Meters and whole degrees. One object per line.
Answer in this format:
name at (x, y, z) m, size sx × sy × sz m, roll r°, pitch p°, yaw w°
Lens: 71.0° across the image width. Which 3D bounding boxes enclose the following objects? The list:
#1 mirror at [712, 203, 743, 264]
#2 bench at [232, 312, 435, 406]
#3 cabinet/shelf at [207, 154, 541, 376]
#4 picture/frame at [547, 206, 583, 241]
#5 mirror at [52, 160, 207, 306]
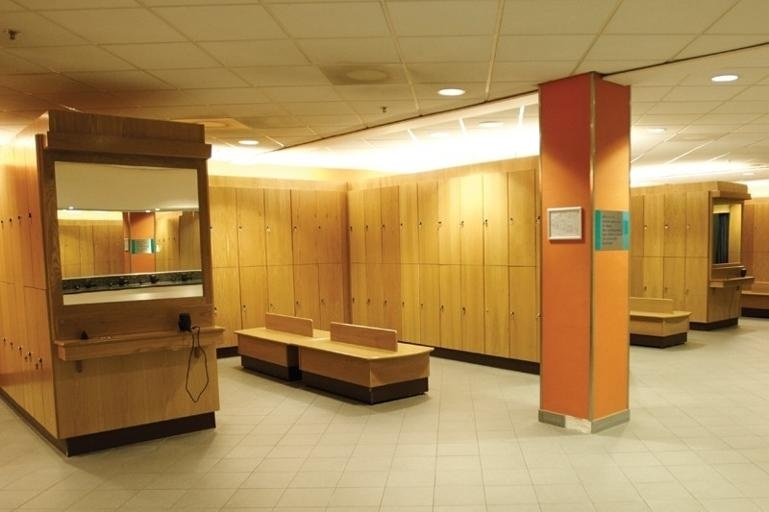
mirror at (8.136, -0.551, 12.844) m, size 1.851 × 1.439 × 0.614 m, roll 0°, pitch 3°, yaw -45°
bench at (-0.946, 1.607, 8.866) m, size 3.139 × 1.137 × 0.877 m, roll 5°, pitch 11°, yaw 38°
cabinet/shelf at (-0.225, 0.218, 10.407) m, size 5.539 × 2.789 × 2.776 m, roll 0°, pitch -1°, yaw 39°
picture/frame at (2.291, -0.417, 6.787) m, size 0.564 × 0.456 × 0.062 m, roll -1°, pitch -3°, yaw 44°
mirror at (-3.335, -0.305, 6.855) m, size 2.422 × 1.927 × 0.050 m, roll -2°, pitch 7°, yaw -25°
